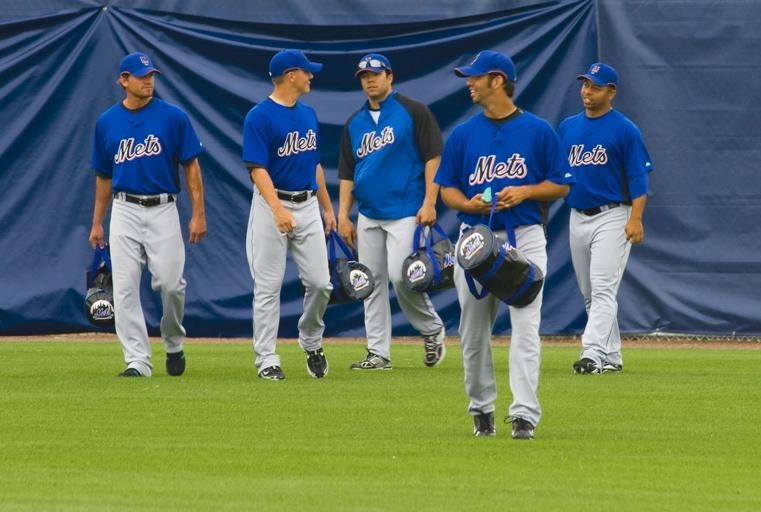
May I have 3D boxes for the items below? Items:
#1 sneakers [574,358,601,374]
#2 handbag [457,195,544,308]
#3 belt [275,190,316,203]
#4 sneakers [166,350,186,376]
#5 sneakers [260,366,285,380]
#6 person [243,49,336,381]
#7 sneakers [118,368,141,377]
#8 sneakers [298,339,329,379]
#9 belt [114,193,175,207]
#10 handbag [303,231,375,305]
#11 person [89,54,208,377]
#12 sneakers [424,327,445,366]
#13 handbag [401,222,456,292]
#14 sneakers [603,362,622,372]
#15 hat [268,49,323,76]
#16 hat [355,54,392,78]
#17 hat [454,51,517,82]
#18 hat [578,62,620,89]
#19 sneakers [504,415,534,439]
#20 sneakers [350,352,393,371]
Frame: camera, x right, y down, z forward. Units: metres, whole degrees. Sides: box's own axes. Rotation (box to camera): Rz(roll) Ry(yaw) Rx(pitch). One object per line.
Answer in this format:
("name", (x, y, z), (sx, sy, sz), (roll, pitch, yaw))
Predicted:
("sneakers", (1.808, 0.957, 10.599), (0.231, 0.129, 0.120), (0, 4, 9))
("handbag", (0.808, -0.019, 8.116), (0.351, 0.476, 0.600), (-38, 26, 24))
("belt", (-0.700, -0.491, 10.082), (0.327, 0.114, 0.083), (-3, 4, -33))
("sneakers", (-1.750, 0.918, 10.286), (0.117, 0.225, 0.107), (-5, 9, -6))
("sneakers", (-0.914, 0.961, 10.049), (0.222, 0.115, 0.181), (-1, 4, 0))
("person", (-0.765, -0.342, 10.173), (0.611, 2.735, 0.863), (1, 4, 35))
("sneakers", (-2.084, 0.957, 10.039), (0.128, 0.079, 0.042), (4, 31, 1))
("sneakers", (-0.559, 0.869, 10.276), (0.150, 0.301, 0.128), (-16, 4, -5))
("belt", (-1.978, -0.472, 10.128), (0.489, 0.133, 0.125), (-2, 4, -11))
("handbag", (-0.366, 0.108, 10.424), (0.283, 0.602, 0.639), (-26, 6, -20))
("person", (-1.954, -0.345, 10.229), (0.911, 2.705, 0.503), (-2, 4, -11))
("sneakers", (0.491, 0.817, 11.088), (0.154, 0.359, 0.178), (-2, 7, 16))
("handbag", (0.393, 0.024, 10.567), (0.291, 0.582, 0.694), (14, 13, 43))
("sneakers", (2.053, 1.000, 10.788), (0.211, 0.084, 0.072), (10, -31, -22))
("hat", (-0.707, -1.617, 10.178), (0.357, 0.256, 0.374), (0, 4, 12))
("hat", (-0.065, -1.697, 10.766), (0.298, 0.175, 0.244), (-2, 4, -14))
("hat", (0.732, -1.297, 8.349), (0.492, 0.207, 0.289), (1, 5, -3))
("hat", (2.015, -1.604, 10.815), (0.443, 0.193, 0.300), (5, 14, -15))
("sneakers", (0.943, 1.143, 8.104), (0.095, 0.093, 0.225), (-3, -28, 4))
("sneakers", (-0.070, 0.963, 10.935), (0.406, 0.165, 0.139), (2, -4, -5))
